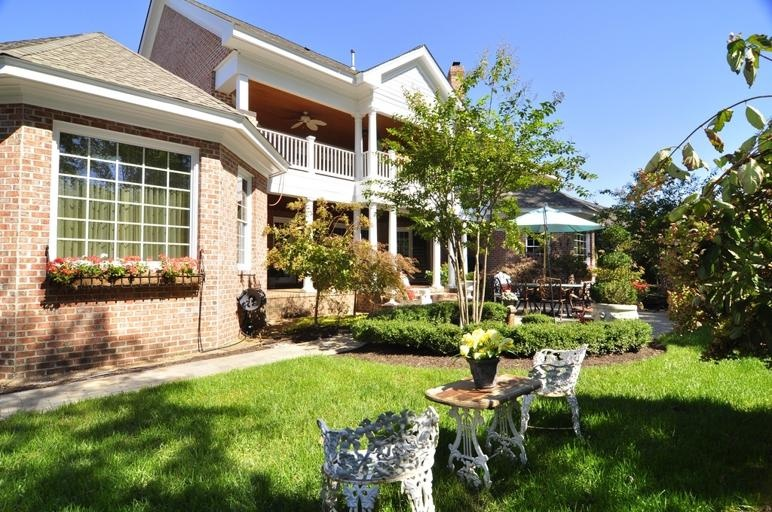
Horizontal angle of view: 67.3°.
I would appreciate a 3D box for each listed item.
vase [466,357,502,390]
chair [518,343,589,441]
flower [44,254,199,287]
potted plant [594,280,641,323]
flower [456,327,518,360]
[{"bbox_3d":[1.374,1.617,8.168,0.435,0.364,0.442,-4,-4,41],"label":"vase"},{"bbox_3d":[2.656,1.942,8.700,1.188,1.735,1.390,1,-8,7],"label":"chair"},{"bbox_3d":[-5.108,0.303,11.365,2.703,0.629,0.376,3,-6,-33],"label":"flower"},{"bbox_3d":[6.107,1.162,15.125,0.986,1.101,1.062,0,-11,1],"label":"potted plant"},{"bbox_3d":[1.425,1.247,8.184,0.692,0.416,0.305,-1,-5,7],"label":"flower"}]
